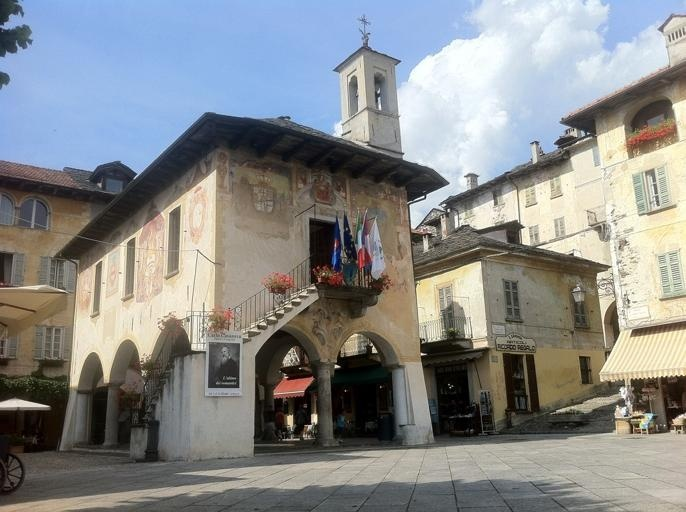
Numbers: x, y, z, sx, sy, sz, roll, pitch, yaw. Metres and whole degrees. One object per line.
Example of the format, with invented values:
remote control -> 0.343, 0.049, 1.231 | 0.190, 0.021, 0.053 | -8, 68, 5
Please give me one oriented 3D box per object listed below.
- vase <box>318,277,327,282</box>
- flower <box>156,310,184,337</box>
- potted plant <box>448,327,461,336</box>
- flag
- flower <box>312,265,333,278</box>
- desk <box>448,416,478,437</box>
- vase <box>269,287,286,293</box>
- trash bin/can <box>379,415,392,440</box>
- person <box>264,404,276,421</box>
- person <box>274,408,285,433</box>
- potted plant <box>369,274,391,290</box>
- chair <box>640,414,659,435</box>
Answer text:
vase -> -0.657, 0.712, 16.822 | 0.244, 0.165, 0.127 | -1, 11, 0
flower -> -5.145, 2.080, 16.867 | 0.981, 0.933, 0.368 | -5, 0, -5
potted plant -> 4.758, 3.309, 24.347 | 0.324, 0.280, 0.325 | 3, -18, 1
flag -> 0.399, -0.258, 17.681 | 1.725, 2.365, 0.679 | 5, -18, -26
flower -> -0.608, 0.562, 17.033 | 0.471, 0.327, 0.451 | -1, 23, 2
desk -> 5.077, 7.191, 23.747 | 0.687, 0.921, 1.271 | 2, -11, -13
vase -> -1.965, 1.039, 16.723 | 0.458, 0.159, 0.346 | -1, -16, -6
trash bin/can -> 1.508, 6.019, 19.683 | 0.505, 0.812, 0.351 | 0, -16, -10
person -> -2.947, 6.180, 22.182 | 0.325, 0.655, 0.786 | 1, -16, -12
person -> -2.925, 7.455, 25.514 | 0.358, 0.985, 1.375 | -1, -16, -7
potted plant -> 1.147, 0.882, 18.070 | 0.597, 0.422, 0.537 | 6, -13, -32
chair -> 10.102, 5.566, 18.713 | 0.418, 0.619, 1.152 | -16, -20, 38
